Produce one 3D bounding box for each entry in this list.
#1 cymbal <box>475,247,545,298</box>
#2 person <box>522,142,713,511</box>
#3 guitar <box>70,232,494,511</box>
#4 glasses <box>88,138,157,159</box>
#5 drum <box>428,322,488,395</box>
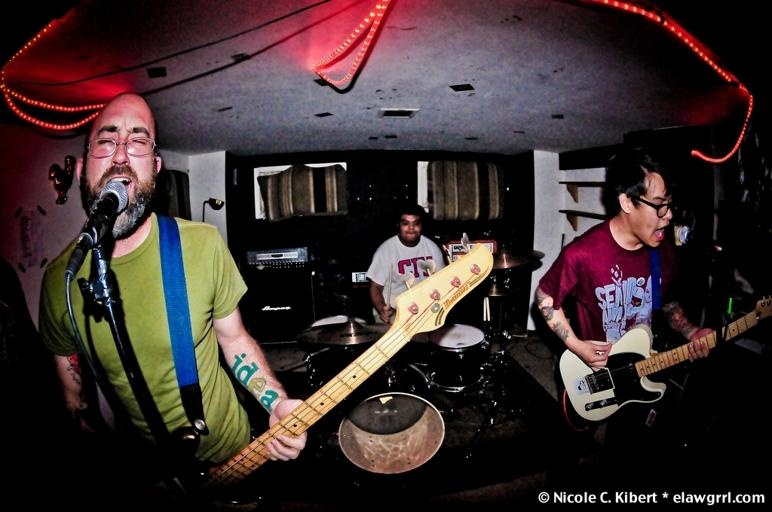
[{"bbox_3d":[1.477,0.106,6.391,0.663,0.249,0.639,-11,10,-23],"label":"cymbal"},{"bbox_3d":[2.175,0.207,4.920,1.464,2.084,1.034,-13,29,-22],"label":"person"},{"bbox_3d":[-0.647,0.900,4.363,3.281,1.163,0.479,-41,37,-11],"label":"guitar"},{"bbox_3d":[-1.828,-0.741,3.886,0.426,0.136,0.045,-3,3,-8],"label":"glasses"},{"bbox_3d":[0.677,0.975,5.510,0.534,0.406,0.552,0,13,0],"label":"drum"}]
